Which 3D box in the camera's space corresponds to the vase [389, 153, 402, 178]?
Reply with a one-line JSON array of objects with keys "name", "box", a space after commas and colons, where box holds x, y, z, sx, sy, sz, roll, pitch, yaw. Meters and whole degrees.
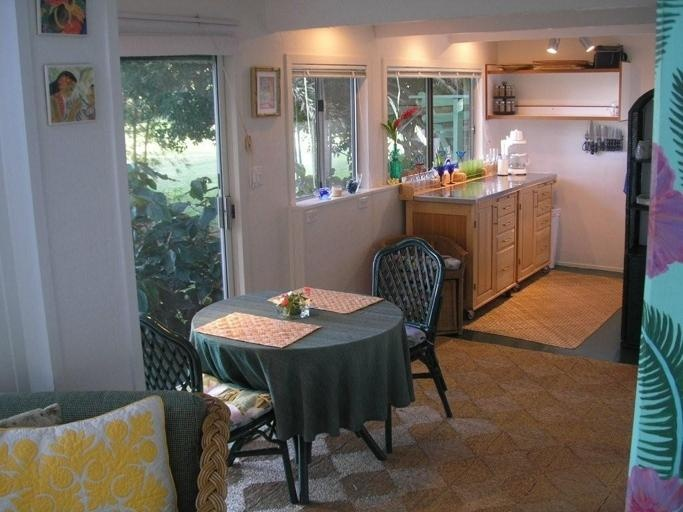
[{"name": "vase", "box": [0.561, -0.956, 5.434, 0.116, 0.286, 0.135, -2, 14, 5]}]

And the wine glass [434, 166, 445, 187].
[{"name": "wine glass", "box": [1.128, -0.912, 5.845, 0.192, 0.250, 0.185, -2, 7, 14]}]

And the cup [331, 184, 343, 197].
[{"name": "cup", "box": [-0.046, -0.602, 4.803, 0.110, 0.087, 0.082, -2, 2, -42]}]

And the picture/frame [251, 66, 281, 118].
[{"name": "picture/frame", "box": [-0.598, -1.287, 4.019, 0.047, 0.455, 0.381, 4, 10, 30]}]

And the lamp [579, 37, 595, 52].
[{"name": "lamp", "box": [2.953, -2.554, 6.207, 0.172, 0.161, 0.416, 3, 15, 24]}]

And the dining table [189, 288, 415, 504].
[{"name": "dining table", "box": [-0.153, 0.559, 2.949, 1.128, 0.856, 1.006, 16, 26, 42]}]

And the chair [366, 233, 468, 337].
[{"name": "chair", "box": [0.857, 0.221, 5.318, 1.052, 1.438, 0.852, 4, 11, 26]}]

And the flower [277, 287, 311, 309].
[{"name": "flower", "box": [-0.279, 0.241, 3.101, 0.132, 0.041, 0.148, 5, 14, 37]}]

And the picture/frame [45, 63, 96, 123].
[{"name": "picture/frame", "box": [-1.030, -0.619, 1.945, 0.028, 0.213, 0.206, 1, 15, 31]}]

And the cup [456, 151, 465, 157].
[{"name": "cup", "box": [1.479, -1.264, 6.392, 0.090, 0.072, 0.229, -1, 14, 11]}]
